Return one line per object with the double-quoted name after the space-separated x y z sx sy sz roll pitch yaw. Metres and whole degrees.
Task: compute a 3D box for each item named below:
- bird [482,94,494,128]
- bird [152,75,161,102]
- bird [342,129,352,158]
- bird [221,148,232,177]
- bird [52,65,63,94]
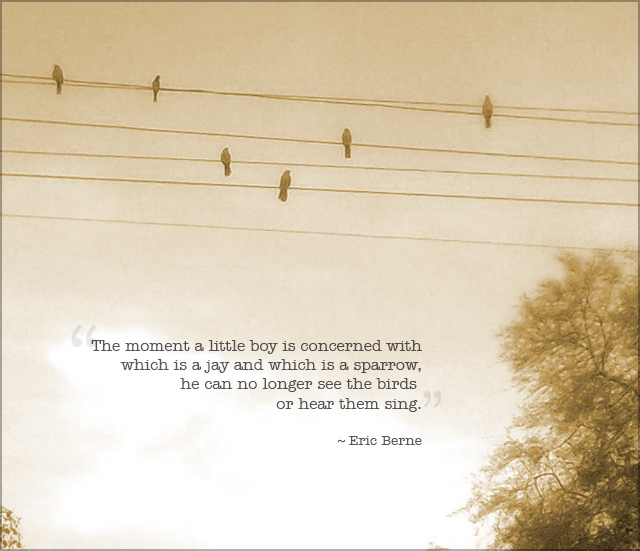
1.523 -1.467 17.153 0.080 0.272 0.108 2 -15 0 "bird"
-1.478 -1.674 17.108 0.058 0.065 0.235 3 -84 -16 "bird"
0.238 -1.179 17.107 0.069 0.074 0.247 0 -84 4 "bird"
-0.848 -1.021 17.130 0.082 0.196 0.213 -9 -44 -1 "bird"
-2.362 -1.760 17.059 0.090 0.192 0.181 -3 -44 -8 "bird"
